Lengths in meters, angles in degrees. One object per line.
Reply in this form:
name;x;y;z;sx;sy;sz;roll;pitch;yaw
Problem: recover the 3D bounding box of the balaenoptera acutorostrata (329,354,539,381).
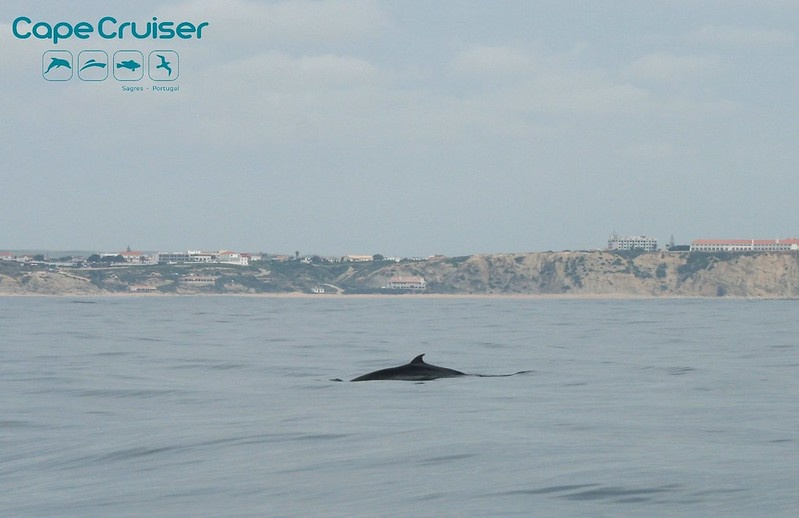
balaenoptera acutorostrata;2.123;6.251;105.415;13.252;2.173;3.498;-2;-11;-4
